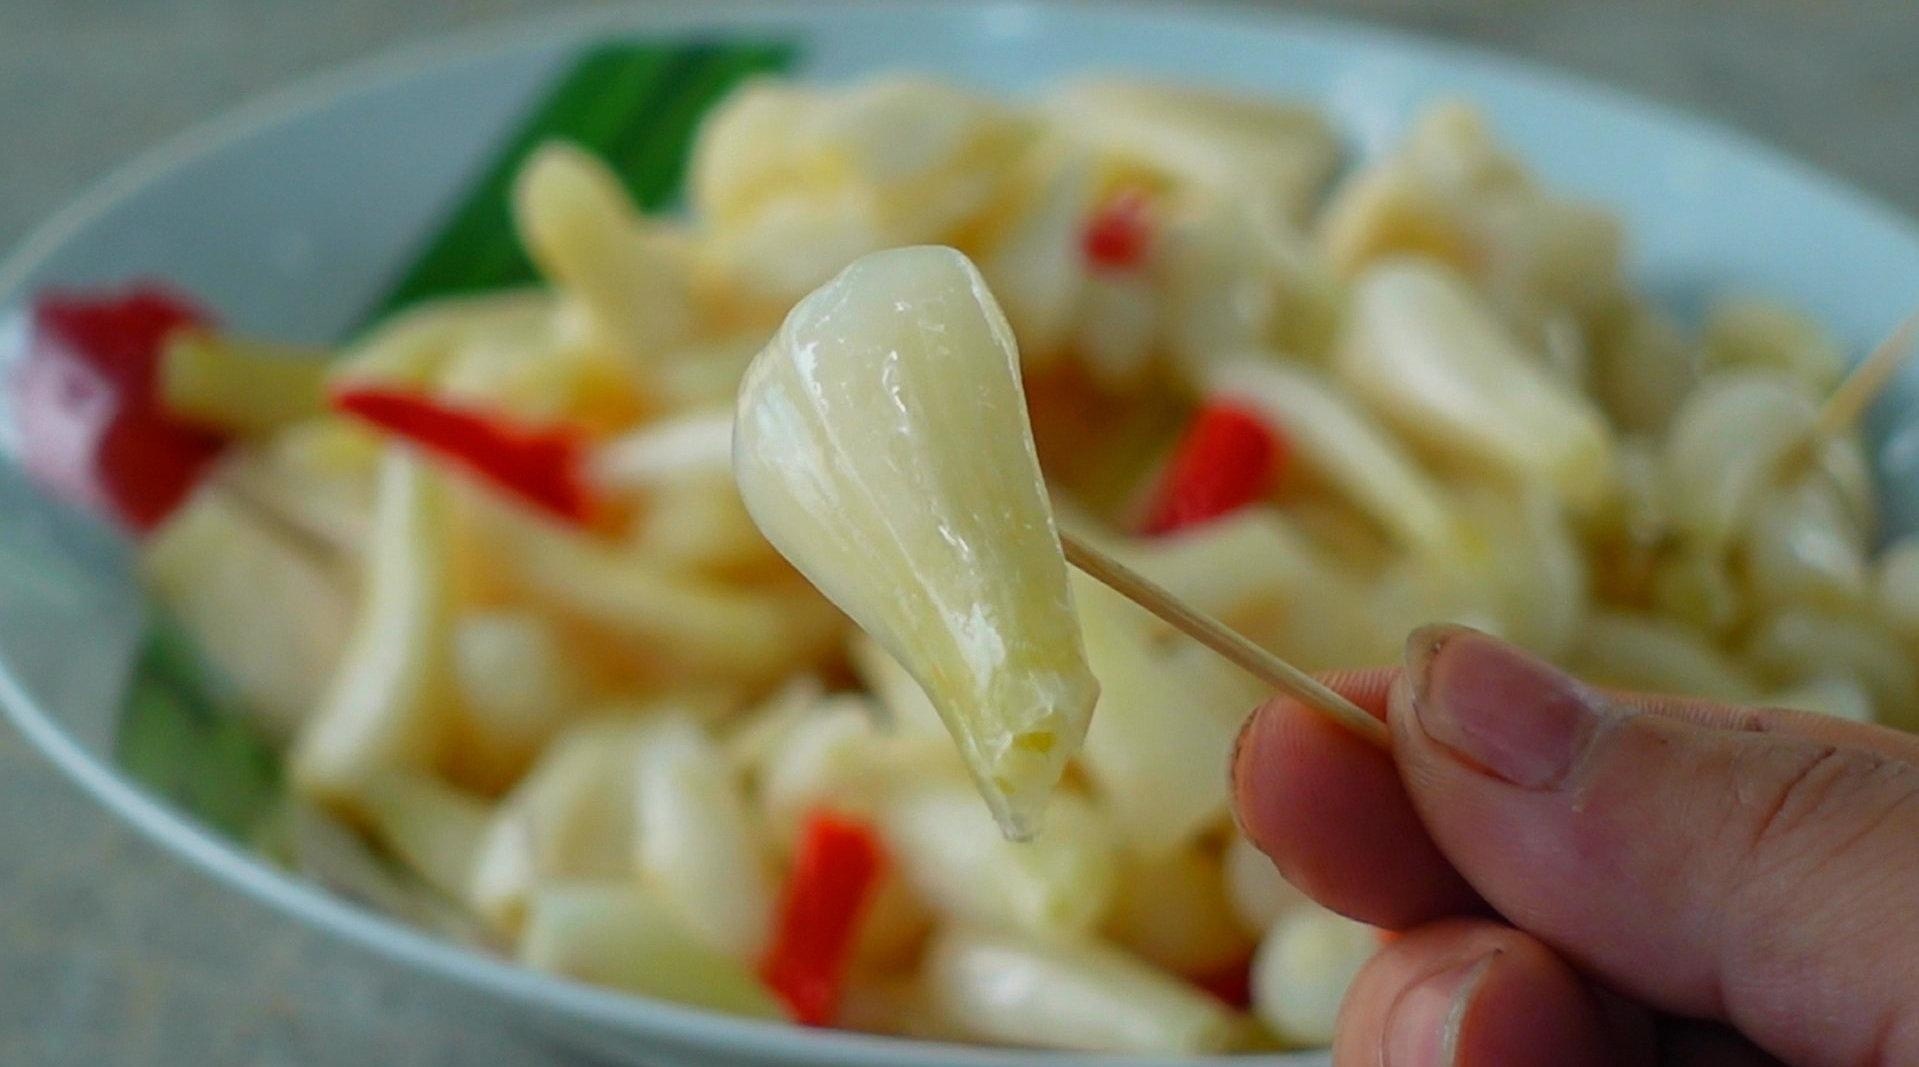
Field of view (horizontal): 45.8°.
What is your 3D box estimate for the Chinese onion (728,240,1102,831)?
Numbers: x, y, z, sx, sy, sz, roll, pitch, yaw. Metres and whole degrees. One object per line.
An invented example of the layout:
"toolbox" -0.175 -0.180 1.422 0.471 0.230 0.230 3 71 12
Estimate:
"Chinese onion" -0.006 -0.016 1.151 0.151 0.067 0.293 -24 83 24
